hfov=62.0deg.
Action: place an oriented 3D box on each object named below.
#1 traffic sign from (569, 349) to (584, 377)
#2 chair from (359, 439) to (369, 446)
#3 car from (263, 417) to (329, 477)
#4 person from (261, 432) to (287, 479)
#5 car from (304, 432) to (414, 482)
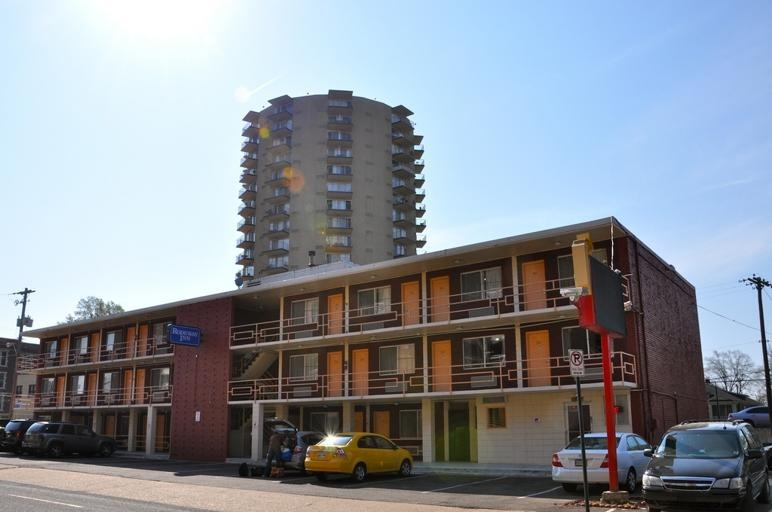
[{"bbox_3d":[6.190,3.459,20.866,0.422,1.025,0.867,-7,-20,13],"label":"traffic sign"},{"bbox_3d":[-1.016,8.032,27.802,0.533,0.450,0.280,2,-10,-3],"label":"chair"},{"bbox_3d":[-4.659,9.359,31.475,2.181,1.666,3.627,-4,-9,24],"label":"car"},{"bbox_3d":[-5.304,9.257,30.265,0.799,2.077,0.884,-2,-19,-1],"label":"person"},{"bbox_3d":[-1.073,8.597,28.496,4.252,1.457,2.122,9,-16,-41],"label":"car"}]
